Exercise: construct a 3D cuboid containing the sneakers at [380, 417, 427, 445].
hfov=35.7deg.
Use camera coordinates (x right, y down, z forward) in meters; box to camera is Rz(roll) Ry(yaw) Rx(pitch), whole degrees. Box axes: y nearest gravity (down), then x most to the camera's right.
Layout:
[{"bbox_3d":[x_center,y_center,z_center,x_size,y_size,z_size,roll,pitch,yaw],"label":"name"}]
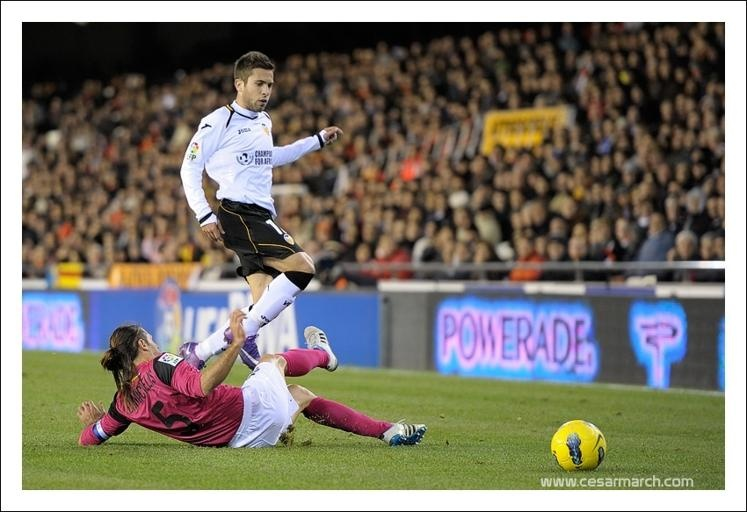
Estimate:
[{"bbox_3d":[0.338,1.820,12.114,0.492,0.199,0.250,-11,-42,3],"label":"sneakers"}]
